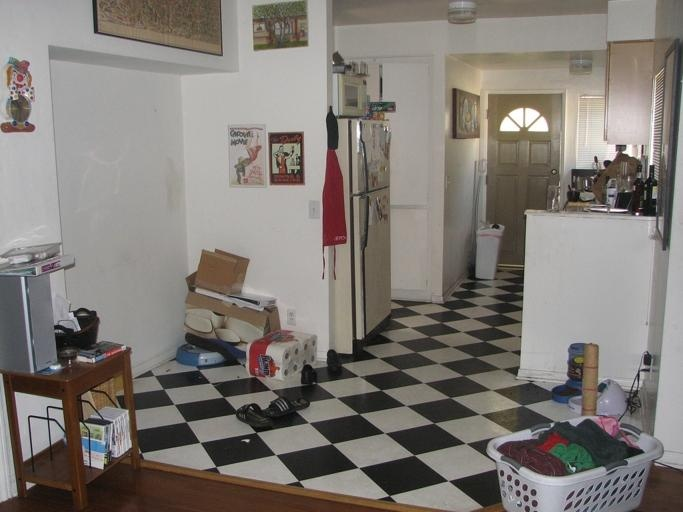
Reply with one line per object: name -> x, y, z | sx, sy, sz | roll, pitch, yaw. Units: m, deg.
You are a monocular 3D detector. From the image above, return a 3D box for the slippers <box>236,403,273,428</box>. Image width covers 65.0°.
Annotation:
slippers -> -0.616, 1.146, 3.828 | 0.172, 0.091, 0.309 | -11, 17, -40

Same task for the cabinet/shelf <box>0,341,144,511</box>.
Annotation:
cabinet/shelf -> -1.548, 0.955, 3.118 | 0.539, 0.776, 0.524 | 5, 13, 23

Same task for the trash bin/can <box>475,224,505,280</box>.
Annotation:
trash bin/can -> 2.058, -0.026, 7.593 | 0.334, 0.701, 0.205 | 3, 12, 14

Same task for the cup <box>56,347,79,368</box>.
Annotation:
cup -> -1.547, 0.572, 3.033 | 0.091, 0.086, 0.092 | 2, 7, 0

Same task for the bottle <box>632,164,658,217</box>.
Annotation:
bottle -> 2.366, -0.520, 4.211 | 0.170, 0.375, 0.415 | 6, 14, 28

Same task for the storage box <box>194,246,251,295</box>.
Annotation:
storage box -> -1.091, 0.198, 4.925 | 0.406, 0.321, 0.423 | 13, 18, -9

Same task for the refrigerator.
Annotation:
refrigerator -> 0.208, -0.209, 5.111 | 0.271, 2.134, 0.889 | 6, 13, 29

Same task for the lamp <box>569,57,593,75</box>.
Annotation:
lamp -> 2.937, -2.349, 6.605 | 0.216, 0.149, 0.233 | 4, 12, 22

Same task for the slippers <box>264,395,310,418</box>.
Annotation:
slippers -> -0.412, 1.086, 3.974 | 0.322, 0.109, 0.128 | -2, 9, -37

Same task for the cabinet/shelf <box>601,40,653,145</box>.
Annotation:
cabinet/shelf -> 2.668, -1.535, 5.026 | 0.414, 0.929, 0.191 | 5, 13, 25

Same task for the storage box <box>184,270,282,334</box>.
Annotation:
storage box -> -0.967, 0.454, 4.832 | 0.603, 0.392, 0.622 | 19, 6, 7
